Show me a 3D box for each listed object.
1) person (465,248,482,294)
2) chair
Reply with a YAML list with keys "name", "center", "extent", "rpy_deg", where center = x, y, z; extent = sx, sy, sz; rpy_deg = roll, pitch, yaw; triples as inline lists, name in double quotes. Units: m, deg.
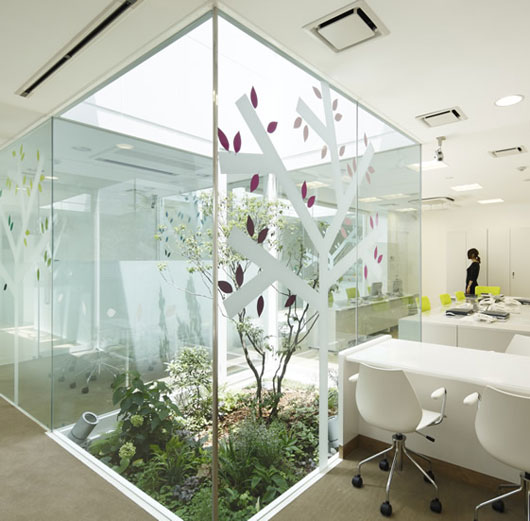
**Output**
- name: "person"
  center: [4.026, 0.229, 8.159]
  extent: [0.253, 0.911, 2.422]
  rpy_deg: [1, 6, 26]
- name: "chair"
  center: [1.040, 1.117, 2.631]
  extent: [1.070, 0.893, 0.612]
  rpy_deg: [3, 7, 40]
